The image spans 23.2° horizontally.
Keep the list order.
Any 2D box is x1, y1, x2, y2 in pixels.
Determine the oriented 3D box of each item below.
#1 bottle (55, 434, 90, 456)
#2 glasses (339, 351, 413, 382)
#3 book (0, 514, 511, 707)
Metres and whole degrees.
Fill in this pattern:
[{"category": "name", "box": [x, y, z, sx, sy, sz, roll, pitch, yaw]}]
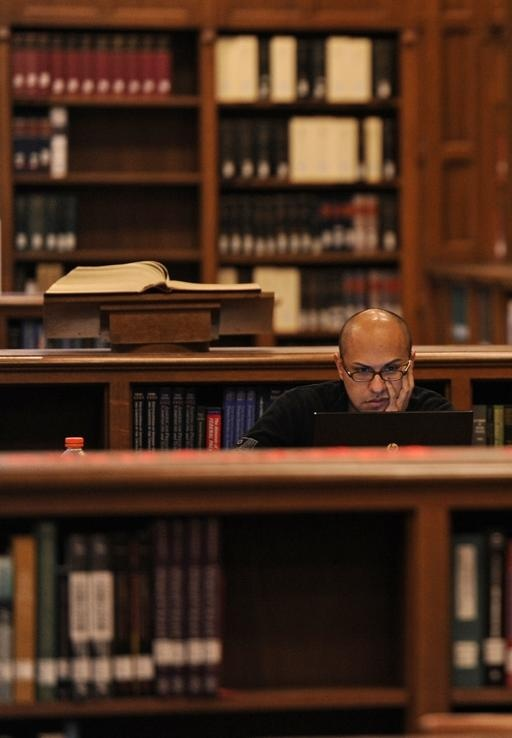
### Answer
[{"category": "bottle", "box": [-0.357, 0.146, 2.453, 0.074, 0.059, 0.068, 1, -4, 0]}, {"category": "glasses", "box": [0.230, 0.003, 2.393, 0.124, 0.044, 0.046, -2, 0, 3]}, {"category": "book", "box": [0.058, 0.343, 1.733, 0.691, 0.268, 0.227, -2, 0, -15]}]
